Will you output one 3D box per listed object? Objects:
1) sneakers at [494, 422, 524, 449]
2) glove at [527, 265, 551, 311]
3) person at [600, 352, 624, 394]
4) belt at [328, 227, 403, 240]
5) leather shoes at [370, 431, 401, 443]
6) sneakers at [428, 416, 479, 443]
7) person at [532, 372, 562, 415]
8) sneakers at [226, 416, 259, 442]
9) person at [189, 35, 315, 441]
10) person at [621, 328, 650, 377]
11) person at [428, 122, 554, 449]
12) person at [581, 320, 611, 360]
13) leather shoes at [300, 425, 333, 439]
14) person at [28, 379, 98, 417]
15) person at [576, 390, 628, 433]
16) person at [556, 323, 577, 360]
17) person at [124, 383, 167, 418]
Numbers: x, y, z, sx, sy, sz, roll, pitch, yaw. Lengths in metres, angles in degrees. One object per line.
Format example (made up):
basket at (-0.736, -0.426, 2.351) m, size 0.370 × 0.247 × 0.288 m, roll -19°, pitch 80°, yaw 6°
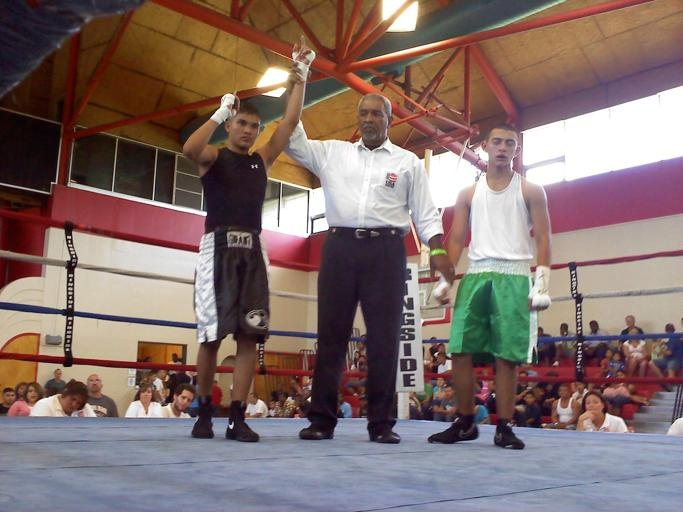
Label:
sneakers at (0.728, 0.776, 2.374) m, size 0.121 × 0.112 × 0.246 m, roll -2°, pitch -11°, yaw 12°
glove at (0.958, 0.160, 2.639) m, size 0.097 × 0.222 × 0.359 m, roll -4°, pitch -11°, yaw 20°
person at (4.295, 1.875, 8.815) m, size 0.329 × 0.776 × 0.244 m, roll 13°, pitch 19°, yaw 24°
belt at (0.118, -0.108, 2.637) m, size 0.356 × 0.073 × 0.088 m, roll -1°, pitch -10°, yaw 3°
leather shoes at (0.191, 0.804, 2.455) m, size 0.058 × 0.053 × 0.124 m, roll 11°, pitch -20°, yaw -37°
sneakers at (0.542, 0.822, 2.603) m, size 0.354 × 0.134 × 0.129 m, roll 9°, pitch -14°, yaw -41°
person at (3.127, 2.068, 8.181) m, size 0.335 × 0.796 × 0.405 m, roll -15°, pitch 25°, yaw 13°
sneakers at (-0.414, 0.737, 2.305) m, size 0.065 × 0.082 × 0.193 m, roll 10°, pitch -16°, yaw -32°
person at (-0.446, -0.196, 2.520) m, size 0.573 × 1.975 × 0.390 m, roll 3°, pitch -11°, yaw -17°
person at (4.845, 1.543, 9.010) m, size 0.385 × 0.796 × 1.330 m, roll -6°, pitch -12°, yaw 28°
person at (0.711, 0.122, 2.630) m, size 0.539 × 1.509 × 0.331 m, roll -6°, pitch -13°, yaw 31°
person at (4.379, 1.503, 9.530) m, size 0.473 × 0.752 × 0.501 m, roll -5°, pitch -14°, yaw 17°
leather shoes at (-0.116, 0.814, 2.505) m, size 0.151 × 0.064 × 0.061 m, roll 23°, pitch -42°, yaw -40°
person at (-2.032, 1.048, 3.984) m, size 0.369 × 0.290 × 0.832 m, roll 5°, pitch -12°, yaw -27°
person at (2.223, 1.347, 4.714) m, size 0.347 × 0.360 × 0.883 m, roll -4°, pitch -11°, yaw 22°
person at (4.117, 1.560, 10.107) m, size 0.308 × 0.759 × 1.692 m, roll -4°, pitch -11°, yaw 22°
person at (-2.007, 1.480, 5.639) m, size 0.336 × 0.281 × 1.499 m, roll 3°, pitch -11°, yaw -18°
